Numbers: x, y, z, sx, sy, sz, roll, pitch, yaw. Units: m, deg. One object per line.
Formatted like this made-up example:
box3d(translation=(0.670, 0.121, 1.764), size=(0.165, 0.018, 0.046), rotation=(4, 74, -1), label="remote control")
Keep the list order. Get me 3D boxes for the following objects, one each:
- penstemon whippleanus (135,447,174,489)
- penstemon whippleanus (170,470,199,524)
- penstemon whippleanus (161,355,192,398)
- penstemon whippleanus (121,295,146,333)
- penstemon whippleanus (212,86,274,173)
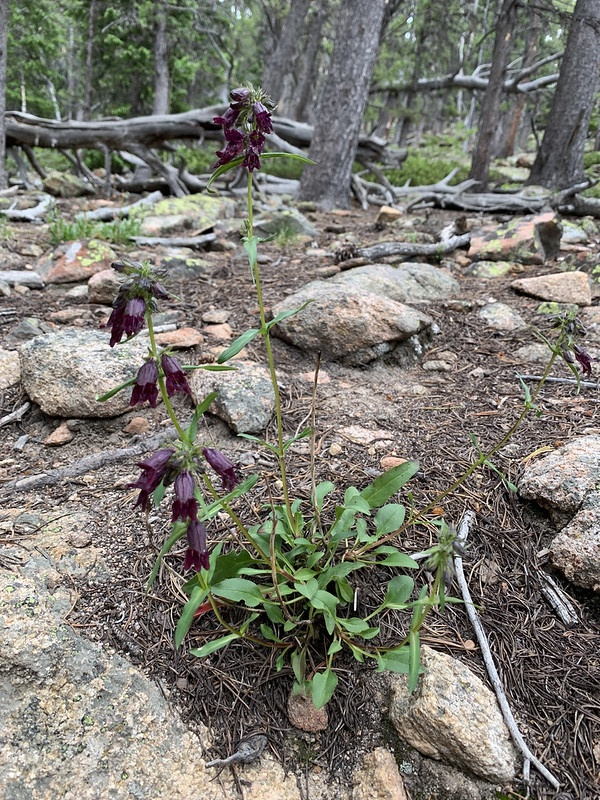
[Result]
box3d(translation=(-0.568, 0.241, 2.594), size=(0.096, 0.105, 0.177), rotation=(23, 44, 14), label="penstemon whippleanus")
box3d(translation=(-0.430, 0.392, 2.547), size=(0.085, 0.257, 0.147), rotation=(6, 27, -14), label="penstemon whippleanus")
box3d(translation=(-0.502, -0.099, 2.730), size=(0.109, 0.173, 0.060), rotation=(-26, 32, -9), label="penstemon whippleanus")
box3d(translation=(-0.626, -0.298, 2.585), size=(0.078, 0.170, 0.112), rotation=(7, 27, -13), label="penstemon whippleanus")
box3d(translation=(-0.232, -1.115, 2.840), size=(0.236, 0.330, 0.320), rotation=(12, 26, -3), label="penstemon whippleanus")
